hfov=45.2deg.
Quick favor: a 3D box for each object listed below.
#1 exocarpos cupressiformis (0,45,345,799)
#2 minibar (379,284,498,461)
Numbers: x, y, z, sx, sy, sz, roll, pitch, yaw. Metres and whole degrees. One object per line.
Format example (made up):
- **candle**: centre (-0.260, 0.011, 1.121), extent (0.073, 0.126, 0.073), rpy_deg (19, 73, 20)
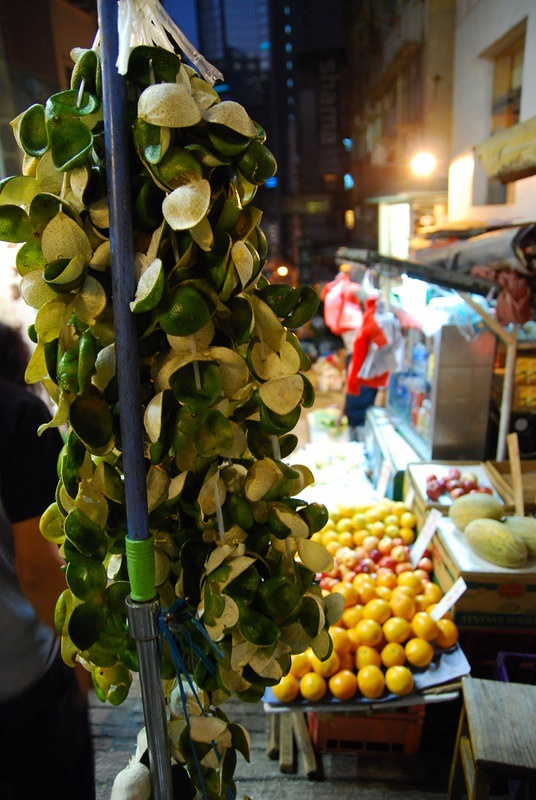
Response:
- **exocarpos cupressiformis**: centre (-0.141, 0.102, 1.018), extent (0.509, 1.258, 0.330), rpy_deg (0, 15, 6)
- **minibar**: centre (0.877, -0.148, 3.544), extent (0.260, 0.760, 0.827), rpy_deg (-1, 10, -6)
